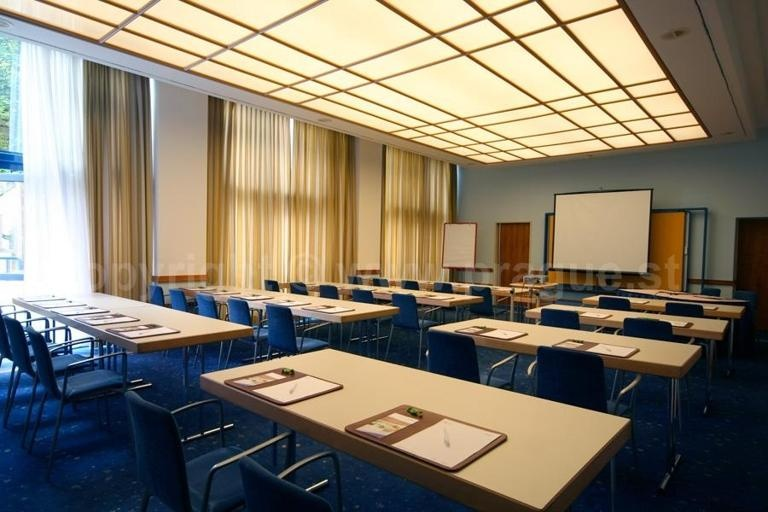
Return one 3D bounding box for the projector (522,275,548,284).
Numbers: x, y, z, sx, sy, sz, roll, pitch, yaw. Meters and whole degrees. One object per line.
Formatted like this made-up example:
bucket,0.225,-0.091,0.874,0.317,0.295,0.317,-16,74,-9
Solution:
projector,3.552,0.556,11.666,0.414,0.139,0.389,1,0,-41
